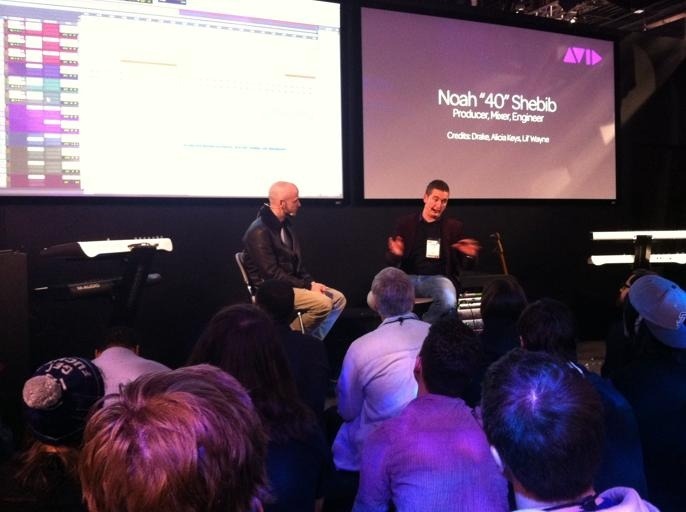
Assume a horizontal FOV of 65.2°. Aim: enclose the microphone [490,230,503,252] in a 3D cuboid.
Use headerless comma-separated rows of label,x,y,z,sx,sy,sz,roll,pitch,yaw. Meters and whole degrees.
microphone,1.441,-0.100,5.017,0.131,0.229,0.393,2,9,16
